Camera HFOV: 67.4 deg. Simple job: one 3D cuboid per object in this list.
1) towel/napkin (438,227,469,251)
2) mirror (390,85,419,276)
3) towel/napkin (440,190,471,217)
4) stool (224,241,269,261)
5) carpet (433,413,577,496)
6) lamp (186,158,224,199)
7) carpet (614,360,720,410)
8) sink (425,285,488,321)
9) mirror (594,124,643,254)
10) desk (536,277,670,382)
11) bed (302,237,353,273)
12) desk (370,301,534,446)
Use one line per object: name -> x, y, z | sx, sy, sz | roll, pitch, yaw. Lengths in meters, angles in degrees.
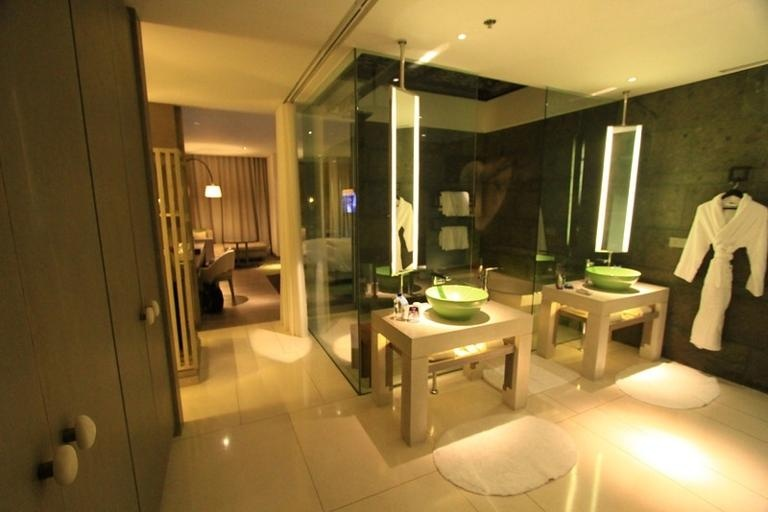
towel/napkin -> 0.623, -0.160, 5.206 | 0.238, 0.233, 0.081 | -7, 6, -23
mirror -> 0.179, -0.634, 4.920 | 0.390, 1.555, 0.124 | -13, 16, -40
towel/napkin -> 0.620, -0.475, 5.168 | 0.251, 0.190, 0.044 | -2, 5, -25
stool -> -2.598, -0.087, 11.094 | 0.556, 0.213, 0.587 | -2, 8, -12
carpet -> 0.946, 1.559, 4.385 | 1.097, 0.226, 0.568 | -6, 11, -21
lamp -> -3.378, -1.454, 10.884 | 0.572, 0.885, 1.641 | -6, 11, -15
carpet -> 2.567, 1.180, 5.144 | 0.891, 0.121, 0.625 | -8, 12, -29
sink -> 0.579, 0.378, 4.800 | 0.332, 0.147, 0.400 | -4, 11, -28
mirror -> 2.310, -0.650, 5.707 | 0.472, 1.249, 0.125 | -3, 12, -4
desk -> 2.092, 0.522, 5.694 | 1.289, 0.897, 0.832 | -4, 10, -23
bed -> -0.562, -0.029, 5.635 | 0.087, 0.383, 1.197 | -9, 12, -27
desk -> 0.565, 0.920, 4.996 | 1.258, 0.820, 0.891 | -7, 14, -30
